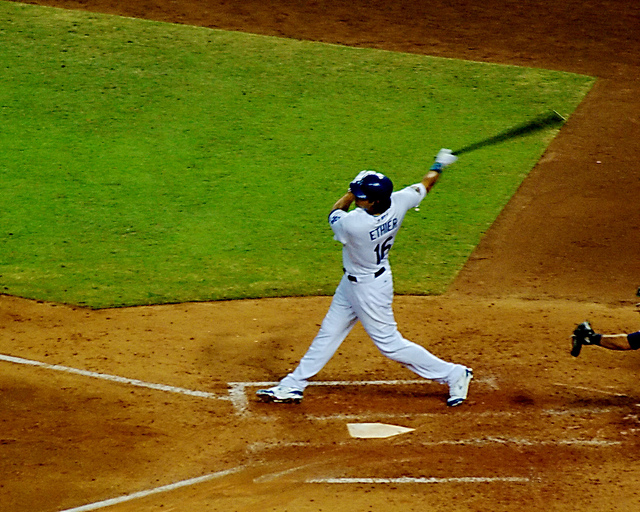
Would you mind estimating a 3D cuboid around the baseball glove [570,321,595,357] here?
[{"bbox_3d":[2.748,0.890,10.485,0.230,0.434,0.252,19,34,10],"label":"baseball glove"}]
